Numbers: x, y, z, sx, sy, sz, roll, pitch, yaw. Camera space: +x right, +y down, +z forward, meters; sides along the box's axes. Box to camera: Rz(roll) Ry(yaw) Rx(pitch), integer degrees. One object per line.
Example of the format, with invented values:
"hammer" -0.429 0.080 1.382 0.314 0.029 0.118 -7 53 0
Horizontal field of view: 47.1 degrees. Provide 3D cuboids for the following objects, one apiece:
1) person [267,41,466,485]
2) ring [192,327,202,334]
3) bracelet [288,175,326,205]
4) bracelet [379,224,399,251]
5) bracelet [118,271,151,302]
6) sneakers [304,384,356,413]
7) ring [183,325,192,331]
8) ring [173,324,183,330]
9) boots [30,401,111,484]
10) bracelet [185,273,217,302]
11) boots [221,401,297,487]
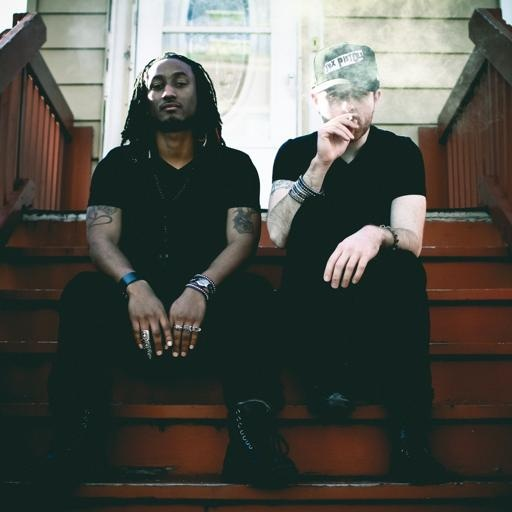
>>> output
"person" 0.360 0.110 2.081 0.603 1.056 0.881 1 19 -12
"ring" -0.203 0.250 1.992 0.024 0.020 0.008 7 7 -15
"bracelet" 0.186 -0.239 2.160 0.084 0.081 0.109 26 18 -10
"bracelet" 0.460 -0.056 2.076 0.066 0.084 0.028 -14 -12 -44
"bracelet" -0.434 0.086 2.058 0.066 0.090 0.099 46 45 13
"sneakers" 0.241 0.475 1.949 0.167 0.088 0.094 4 0 14
"ring" -0.234 0.244 1.987 0.025 0.019 0.009 5 -17 -12
"ring" -0.263 0.240 1.984 0.026 0.015 0.006 2 -8 -3
"boots" -0.560 0.616 1.959 0.205 0.222 0.124 -2 -9 -12
"bracelet" -0.191 0.103 2.044 0.069 0.098 0.059 7 36 3
"boots" 0.029 0.618 1.886 0.244 0.270 0.139 -7 -19 20
